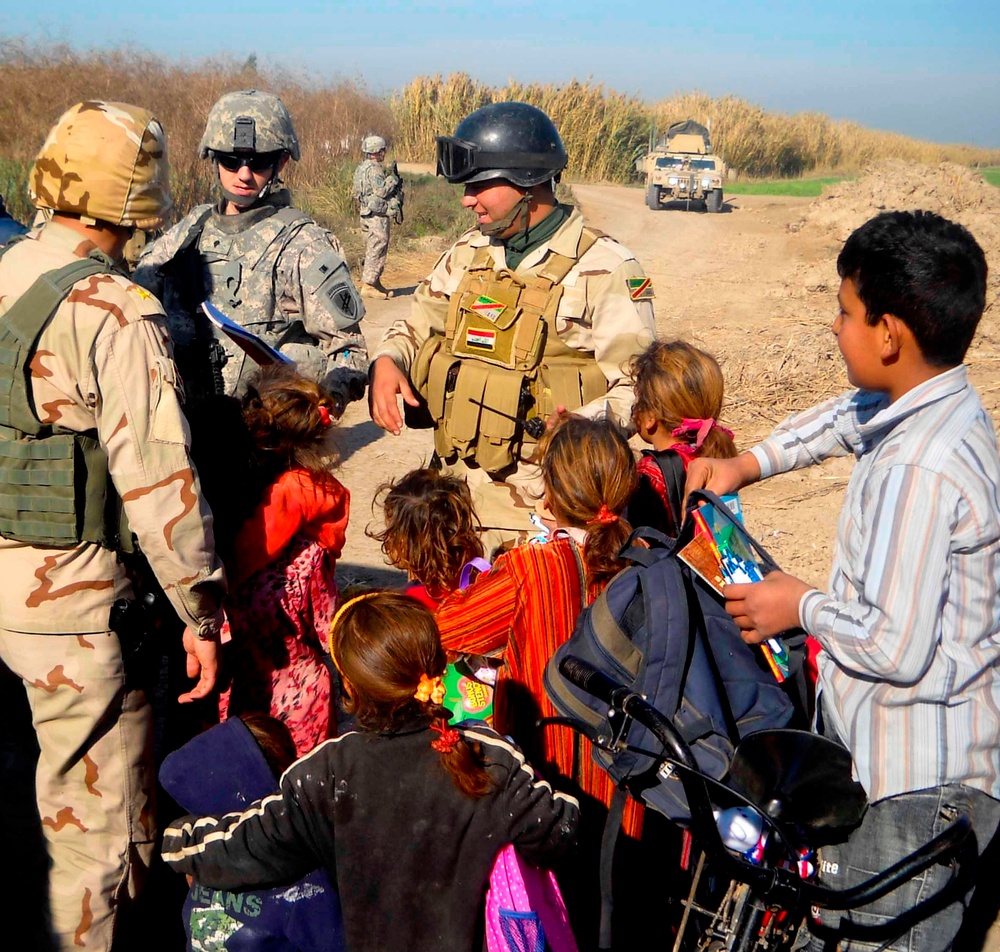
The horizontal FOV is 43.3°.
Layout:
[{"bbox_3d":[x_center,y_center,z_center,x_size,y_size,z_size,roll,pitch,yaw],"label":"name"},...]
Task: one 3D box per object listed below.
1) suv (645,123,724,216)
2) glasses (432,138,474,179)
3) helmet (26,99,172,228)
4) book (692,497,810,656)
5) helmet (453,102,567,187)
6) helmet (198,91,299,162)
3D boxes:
[{"bbox_3d":[4.225,-6.902,27.685,1.834,2.223,3.541,1,11,2],"label":"suv"},{"bbox_3d":[-0.149,-1.107,4.395,0.118,0.102,0.162,15,16,39],"label":"glasses"},{"bbox_3d":[-1.043,-0.824,3.455,0.291,0.304,0.366,22,14,17],"label":"helmet"},{"bbox_3d":[0.585,0.155,3.076,0.116,0.336,0.340,-30,24,28],"label":"book"},{"bbox_3d":[0.022,-1.142,4.394,0.337,0.221,0.293,-2,12,-17],"label":"helmet"},{"bbox_3d":[-0.902,-1.247,4.558,0.273,0.200,0.307,1,16,-4],"label":"helmet"}]
